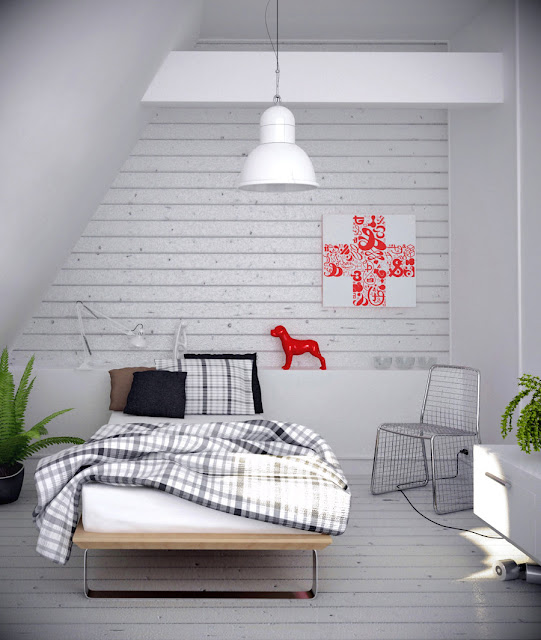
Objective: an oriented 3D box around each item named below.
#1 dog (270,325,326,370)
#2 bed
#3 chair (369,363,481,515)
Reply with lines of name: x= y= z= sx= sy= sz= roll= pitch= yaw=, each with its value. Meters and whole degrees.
dog: x=0.204 y=0.206 z=5.280 sx=0.429 sy=0.316 sz=0.301 roll=1 pitch=8 yaw=3
bed: x=-0.401 y=0.870 z=3.713 sx=1.165 sy=0.304 sz=1.439 roll=4 pitch=16 yaw=-7
chair: x=1.021 y=0.678 z=4.702 sx=0.669 sy=0.801 sz=1.093 roll=3 pitch=8 yaw=15
